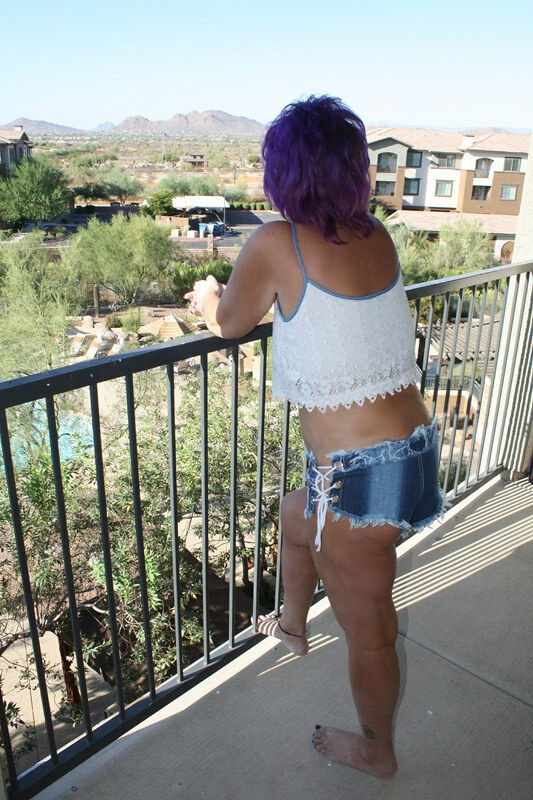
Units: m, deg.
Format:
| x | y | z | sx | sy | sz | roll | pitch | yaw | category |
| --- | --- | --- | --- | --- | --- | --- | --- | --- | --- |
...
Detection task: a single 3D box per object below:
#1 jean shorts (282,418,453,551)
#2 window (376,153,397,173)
| x | y | z | sx | sy | sz | roll | pitch | yaw | category |
| --- | --- | --- | --- | --- | --- | --- | --- | --- | --- |
| 0.226 | 0.105 | 1.107 | 0.217 | 0.232 | 0.281 | -7 | 20 | -9 | jean shorts |
| 11.082 | -21.902 | 52.119 | 1.752 | 1.876 | 0.095 | -3 | 18 | -13 | window |
